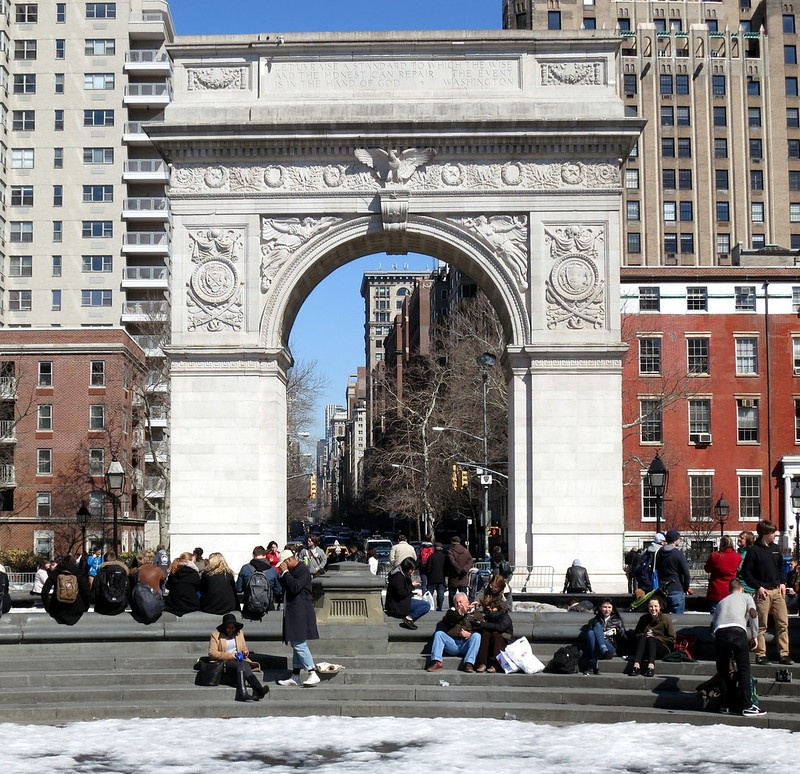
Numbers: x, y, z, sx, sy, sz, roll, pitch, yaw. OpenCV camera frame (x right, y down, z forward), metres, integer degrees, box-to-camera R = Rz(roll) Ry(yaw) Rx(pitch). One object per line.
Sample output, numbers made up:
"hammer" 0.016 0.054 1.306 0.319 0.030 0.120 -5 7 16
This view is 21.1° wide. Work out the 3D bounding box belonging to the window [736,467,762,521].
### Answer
"window" 14.528 4.449 89.029 0.980 2.083 0.450 1 -8 9
